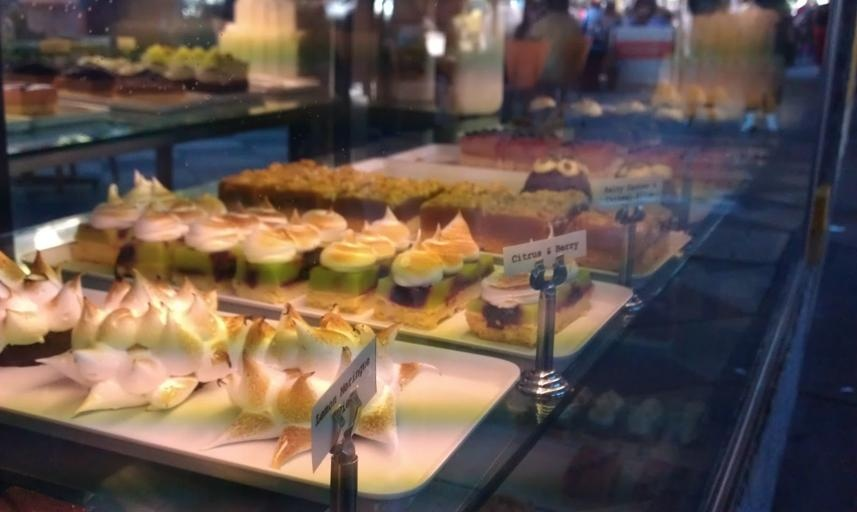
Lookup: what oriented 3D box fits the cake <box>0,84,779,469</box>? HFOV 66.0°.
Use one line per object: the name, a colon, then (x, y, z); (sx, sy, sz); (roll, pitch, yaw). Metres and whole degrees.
cake: (-0.037, -0.114, 1.326); (1.303, 0.382, 0.534); (6, 22, 18)
